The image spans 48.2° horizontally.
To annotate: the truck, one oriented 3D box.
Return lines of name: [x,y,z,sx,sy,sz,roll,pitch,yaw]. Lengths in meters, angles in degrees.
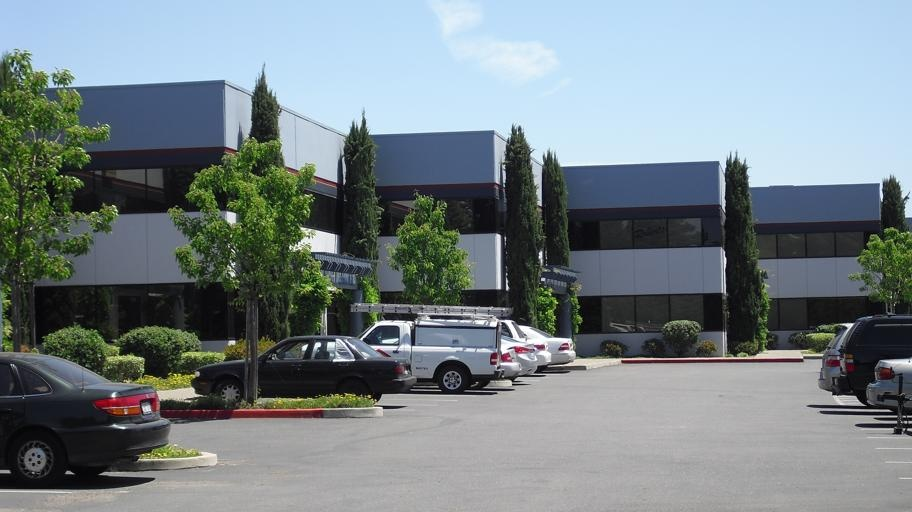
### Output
truck: [-0.932,3.839,40.295,5.038,2.202,2.726,2,-5,7]

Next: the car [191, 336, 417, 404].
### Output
car: [-5.316,4.041,35.938,7.002,2.100,2.999,1,-6,7]
